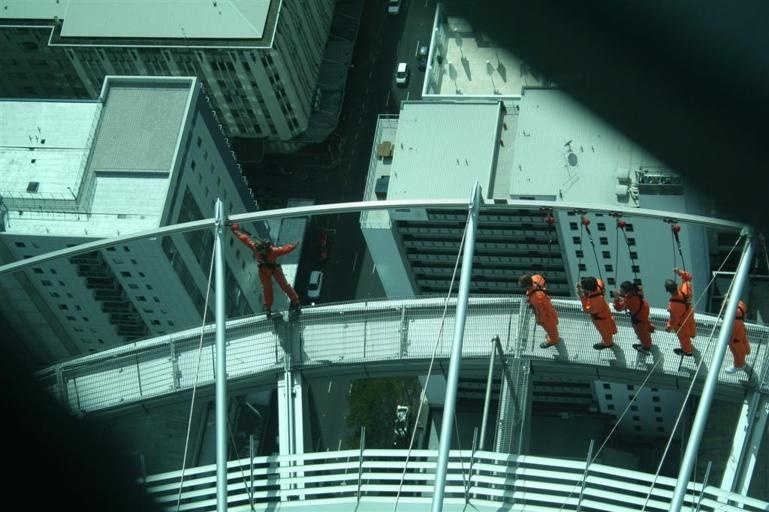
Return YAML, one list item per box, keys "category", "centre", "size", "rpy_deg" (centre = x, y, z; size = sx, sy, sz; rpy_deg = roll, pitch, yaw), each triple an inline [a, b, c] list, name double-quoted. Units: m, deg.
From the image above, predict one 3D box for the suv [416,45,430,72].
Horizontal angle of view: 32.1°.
- category: "suv"
  centre: [3.552, -18.104, 121.384]
  size: [1.261, 2.226, 0.970]
  rpy_deg: [2, -4, 8]

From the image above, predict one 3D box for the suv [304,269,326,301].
- category: "suv"
  centre: [-5.682, 2.451, 112.001]
  size: [1.130, 2.652, 0.953]
  rpy_deg: [3, -14, 7]

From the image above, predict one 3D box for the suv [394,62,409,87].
- category: "suv"
  centre: [1.732, -16.381, 120.542]
  size: [1.021, 2.241, 0.807]
  rpy_deg: [-1, -32, 8]
